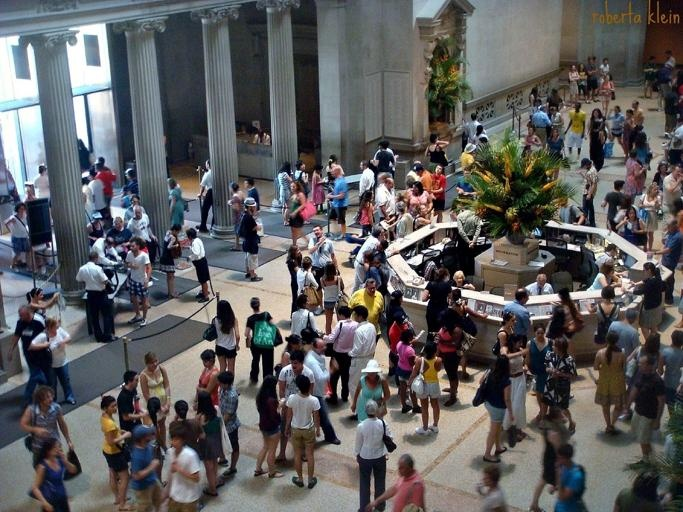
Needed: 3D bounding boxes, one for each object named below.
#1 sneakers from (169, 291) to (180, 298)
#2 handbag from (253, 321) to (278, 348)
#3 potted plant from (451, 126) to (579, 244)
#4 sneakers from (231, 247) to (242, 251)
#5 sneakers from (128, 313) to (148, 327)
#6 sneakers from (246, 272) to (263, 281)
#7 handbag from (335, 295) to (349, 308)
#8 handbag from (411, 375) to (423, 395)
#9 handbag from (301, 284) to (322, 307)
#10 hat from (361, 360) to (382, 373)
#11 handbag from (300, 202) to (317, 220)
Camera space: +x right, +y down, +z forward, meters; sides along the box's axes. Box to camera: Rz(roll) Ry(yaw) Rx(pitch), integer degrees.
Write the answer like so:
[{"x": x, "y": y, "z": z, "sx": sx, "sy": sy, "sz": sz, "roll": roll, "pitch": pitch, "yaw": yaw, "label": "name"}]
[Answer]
[{"x": -4.005, "y": 0.933, "z": 13.551, "sx": 0.180, "sy": 0.080, "sz": 0.104, "roll": 1, "pitch": 42, "yaw": -2, "label": "sneakers"}, {"x": -1.310, "y": 1.339, "z": 9.617, "sx": 0.383, "sy": 0.593, "sz": 0.197, "roll": 3, "pitch": 6, "yaw": -8, "label": "handbag"}, {"x": 3.880, "y": -1.070, "z": 12.579, "sx": 2.558, "sy": 2.571, "sz": 2.739, "roll": -6, "pitch": -5, "yaw": 5, "label": "potted plant"}, {"x": -2.952, "y": -0.175, "z": 15.796, "sx": 0.228, "sy": 0.098, "sz": 0.126, "roll": 15, "pitch": 23, "yaw": 22, "label": "sneakers"}, {"x": -4.444, "y": 1.406, "z": 12.457, "sx": 0.469, "sy": 0.230, "sz": 0.182, "roll": 5, "pitch": 15, "yaw": 11, "label": "sneakers"}, {"x": -2.213, "y": 0.484, "z": 14.106, "sx": 0.480, "sy": 0.230, "sz": 0.182, "roll": -4, "pitch": 30, "yaw": -11, "label": "sneakers"}, {"x": -0.016, "y": 0.857, "z": 10.658, "sx": 0.230, "sy": 0.275, "sz": 0.115, "roll": 5, "pitch": 10, "yaw": 19, "label": "handbag"}, {"x": 1.125, "y": 1.924, "z": 8.483, "sx": 0.100, "sy": 0.286, "sz": 0.248, "roll": -2, "pitch": 15, "yaw": -13, "label": "handbag"}, {"x": -0.585, "y": 0.751, "z": 10.623, "sx": 0.169, "sy": 0.370, "sz": 0.360, "roll": -15, "pitch": 2, "yaw": 20, "label": "handbag"}, {"x": 0.424, "y": 1.532, "z": 7.824, "sx": 0.214, "sy": 0.131, "sz": 0.234, "roll": 1, "pitch": -6, "yaw": 5, "label": "hat"}, {"x": -0.924, "y": -1.217, "z": 15.135, "sx": 0.322, "sy": 0.562, "sz": 0.579, "roll": 7, "pitch": -1, "yaw": -39, "label": "handbag"}]
